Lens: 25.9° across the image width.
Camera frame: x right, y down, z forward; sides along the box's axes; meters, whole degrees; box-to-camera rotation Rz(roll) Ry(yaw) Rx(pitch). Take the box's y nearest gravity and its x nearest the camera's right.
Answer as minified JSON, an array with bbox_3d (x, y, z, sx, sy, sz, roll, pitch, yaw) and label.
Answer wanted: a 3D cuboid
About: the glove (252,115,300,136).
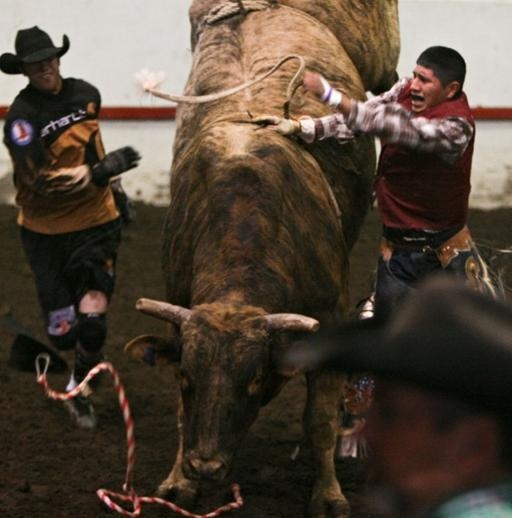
[{"bbox_3d":[0.105,-0.660,5.526,0.202,0.045,0.101,1,23,-34],"label":"glove"}]

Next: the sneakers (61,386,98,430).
[{"bbox_3d":[-1.040,0.861,6.272,0.112,0.194,0.287,-32,73,-27],"label":"sneakers"}]
